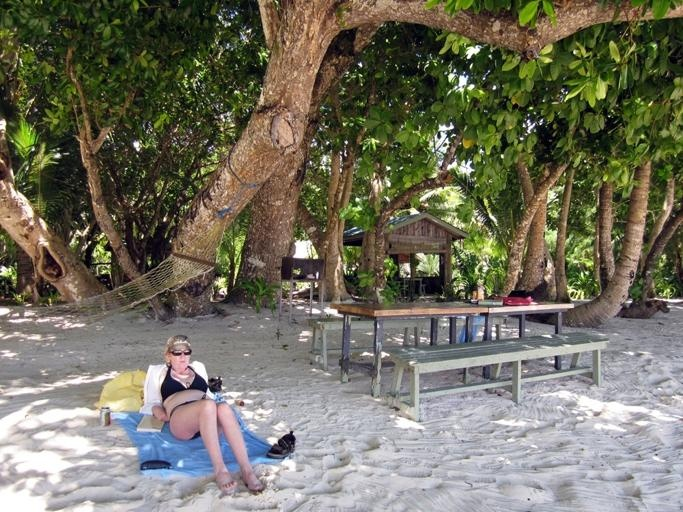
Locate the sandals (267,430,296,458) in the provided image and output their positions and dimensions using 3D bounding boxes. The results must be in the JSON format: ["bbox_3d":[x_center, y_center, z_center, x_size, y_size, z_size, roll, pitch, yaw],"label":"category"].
[{"bbox_3d":[-0.604,2.012,5.824,0.119,0.122,0.320,12,4,13],"label":"sandals"}]

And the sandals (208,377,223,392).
[{"bbox_3d":[-1.519,1.517,6.500,0.178,0.197,0.142,-2,-13,22],"label":"sandals"}]

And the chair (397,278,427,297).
[{"bbox_3d":[2.687,1.214,20.918,1.028,0.565,1.083,0,5,10],"label":"chair"}]

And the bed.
[{"bbox_3d":[-3.586,0.558,9.829,3.405,0.649,1.931,-20,-12,-31],"label":"bed"}]

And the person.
[{"bbox_3d":[-1.440,1.553,5.732,0.846,1.158,1.789,0,6,-39],"label":"person"}]
